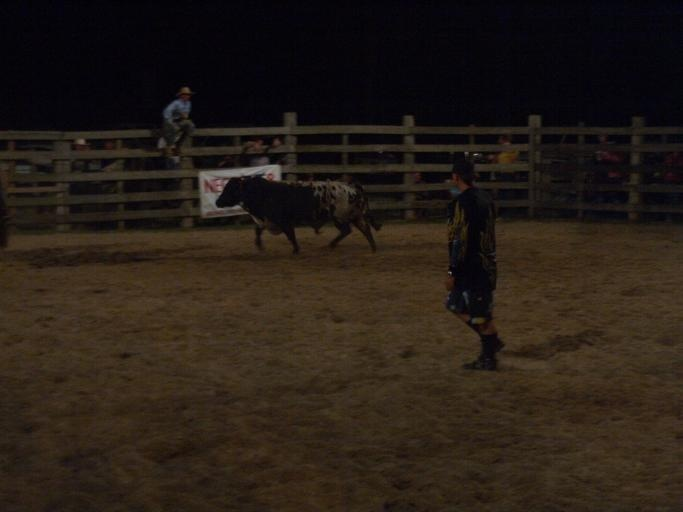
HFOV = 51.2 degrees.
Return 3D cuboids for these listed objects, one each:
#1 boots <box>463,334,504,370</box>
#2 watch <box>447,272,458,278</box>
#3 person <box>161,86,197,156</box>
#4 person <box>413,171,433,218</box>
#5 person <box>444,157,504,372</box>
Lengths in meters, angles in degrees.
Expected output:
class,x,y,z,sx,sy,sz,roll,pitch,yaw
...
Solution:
class,x,y,z,sx,sy,sz,roll,pitch,yaw
boots,1.390,1.037,7.571,0.669,0.327,0.241,-3,9,-12
watch,1.112,0.176,7.239,0.076,0.057,0.046,-1,6,-1
person,-3.667,-2.977,15.873,0.701,1.518,0.645,-2,6,-12
person,2.071,-1.582,17.885,0.418,1.221,0.430,-2,16,-7
person,1.359,0.266,7.456,0.699,1.880,0.352,-2,7,-15
